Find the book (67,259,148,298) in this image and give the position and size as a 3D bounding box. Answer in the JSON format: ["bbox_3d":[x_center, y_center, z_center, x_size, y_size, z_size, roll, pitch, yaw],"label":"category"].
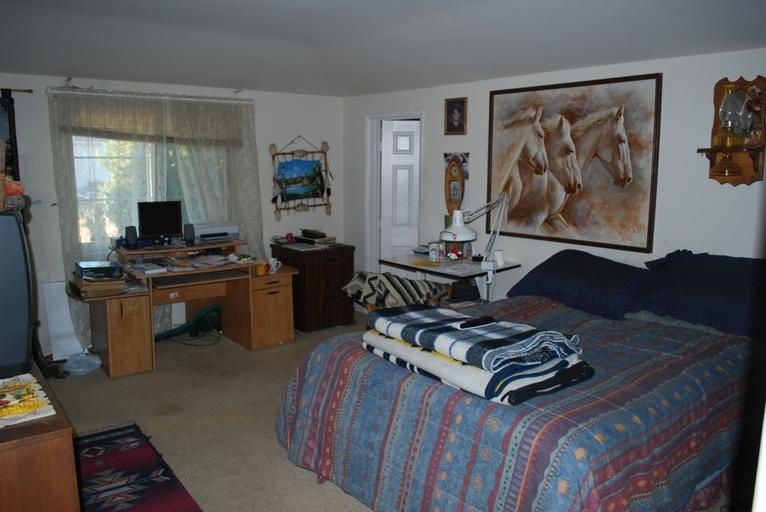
[{"bbox_3d":[-2.574,0.143,5.171,0.458,0.162,0.467,9,9,39],"label":"book"}]

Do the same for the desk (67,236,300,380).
[{"bbox_3d":[-1.981,0.444,5.653,2.048,1.049,0.823,-7,12,-40],"label":"desk"}]

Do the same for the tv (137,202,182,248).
[{"bbox_3d":[-2.307,-0.318,5.639,0.463,0.482,0.164,-4,8,-39],"label":"tv"}]

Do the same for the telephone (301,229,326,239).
[{"bbox_3d":[-0.832,-0.254,6.492,0.152,0.072,0.205,-4,8,-31],"label":"telephone"}]

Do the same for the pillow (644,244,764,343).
[{"bbox_3d":[2.342,0.283,4.058,0.640,0.164,0.683,-7,51,29],"label":"pillow"}]

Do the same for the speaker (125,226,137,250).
[{"bbox_3d":[-2.545,-0.185,5.568,0.119,0.226,0.125,-9,11,-24],"label":"speaker"}]

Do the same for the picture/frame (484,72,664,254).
[{"bbox_3d":[1.691,-0.861,5.150,1.619,1.501,0.031,10,19,41],"label":"picture/frame"}]

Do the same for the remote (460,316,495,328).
[{"bbox_3d":[0.588,0.420,3.456,0.187,0.038,0.060,-5,4,-22],"label":"remote"}]
